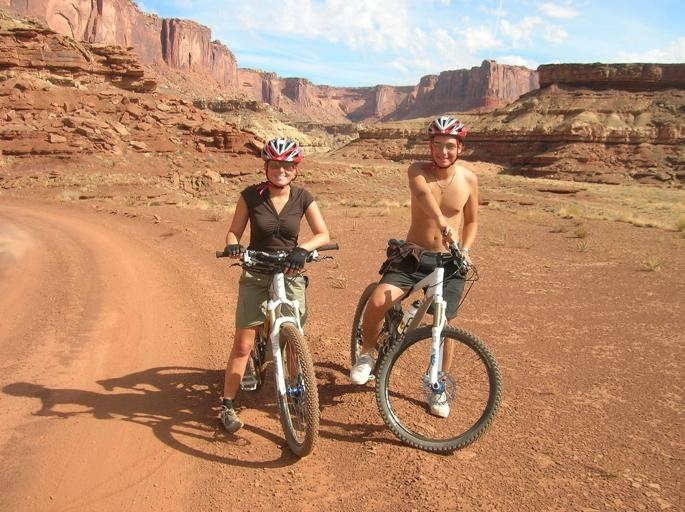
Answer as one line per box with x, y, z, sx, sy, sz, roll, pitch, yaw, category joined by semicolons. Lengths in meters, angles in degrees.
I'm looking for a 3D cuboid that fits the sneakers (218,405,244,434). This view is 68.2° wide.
-1.066;1.573;4.810;0.137;0.159;0.340;12;-4;-36;sneakers

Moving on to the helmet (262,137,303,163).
-0.577;-0.997;4.745;0.363;0.228;0.444;2;17;-9;helmet

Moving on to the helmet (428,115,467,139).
0.998;-1.244;4.845;0.347;0.213;0.347;7;17;8;helmet

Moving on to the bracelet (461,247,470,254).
1.133;-0.054;4.677;0.066;0.020;0.066;-7;16;-34;bracelet

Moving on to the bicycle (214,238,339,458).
-0.529;0.811;4.750;1.323;1.801;0.685;17;21;35;bicycle

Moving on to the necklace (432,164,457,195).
0.998;-0.735;4.895;0.186;0.267;0.064;2;-7;-14;necklace
